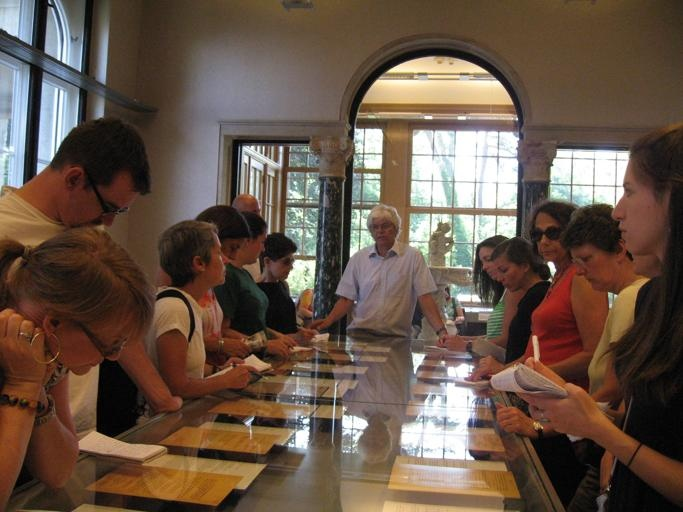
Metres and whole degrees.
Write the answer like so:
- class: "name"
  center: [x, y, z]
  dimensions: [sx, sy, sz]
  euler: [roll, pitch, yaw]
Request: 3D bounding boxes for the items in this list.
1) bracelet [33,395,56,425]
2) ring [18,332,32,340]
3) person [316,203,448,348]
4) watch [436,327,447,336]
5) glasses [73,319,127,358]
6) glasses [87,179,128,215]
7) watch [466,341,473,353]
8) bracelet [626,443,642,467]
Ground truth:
- class: "bracelet"
  center: [-0.800, 0.418, 1.477]
  dimensions: [0.024, 0.062, 0.052]
  euler: [1, -12, 3]
- class: "ring"
  center: [-0.779, 0.199, 1.347]
  dimensions: [0.019, 0.005, 0.020]
  euler: [25, 14, -7]
- class: "person"
  center: [0.346, 0.149, 4.438]
  dimensions: [0.874, 1.106, 0.700]
  euler: [2, 5, 0]
- class: "watch"
  center: [0.726, 0.550, 3.984]
  dimensions: [0.066, 0.048, 0.074]
  euler: [2, -38, -34]
- class: "glasses"
  center: [-0.616, 0.211, 1.408]
  dimensions: [0.030, 0.100, 0.098]
  euler: [-38, -5, -4]
- class: "glasses"
  center: [-0.808, -0.197, 1.882]
  dimensions: [0.032, 0.111, 0.107]
  euler: [-16, -6, 11]
- class: "watch"
  center: [0.803, 0.581, 3.455]
  dimensions: [0.019, 0.053, 0.047]
  euler: [14, -9, -35]
- class: "bracelet"
  center: [0.781, 0.533, 1.468]
  dimensions: [0.013, 0.049, 0.052]
  euler: [29, 41, 6]
